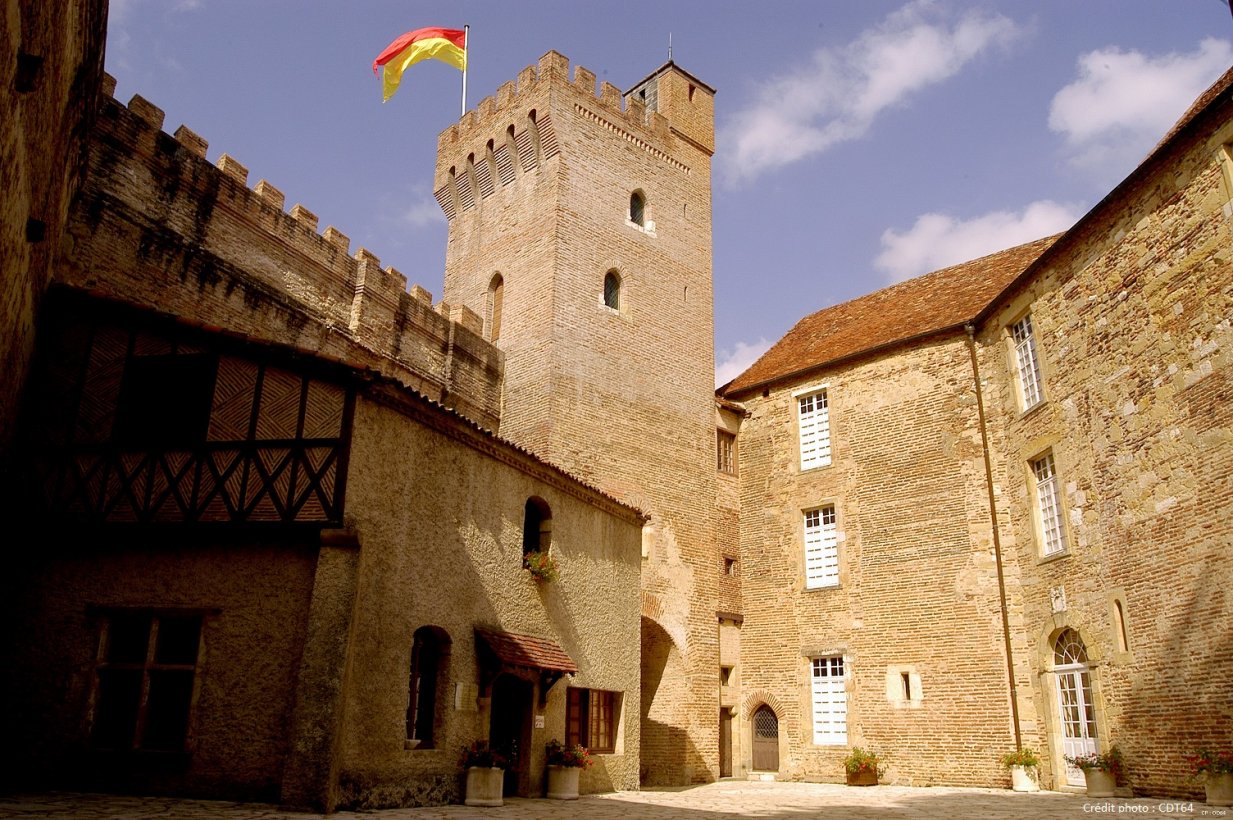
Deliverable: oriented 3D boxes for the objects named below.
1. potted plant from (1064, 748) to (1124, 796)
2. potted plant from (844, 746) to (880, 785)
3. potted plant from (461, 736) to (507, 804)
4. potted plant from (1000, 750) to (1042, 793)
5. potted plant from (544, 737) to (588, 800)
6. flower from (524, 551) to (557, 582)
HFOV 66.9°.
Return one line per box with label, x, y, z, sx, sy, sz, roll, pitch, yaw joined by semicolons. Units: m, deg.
potted plant;11.030;8.289;21.358;1.053;0.877;0.951;5;-23;-15
potted plant;6.783;9.874;25.891;0.852;0.871;0.897;-7;-13;35
potted plant;-2.453;6.832;17.528;1.194;1.230;0.959;3;-30;-6
potted plant;10.235;9.095;23.558;0.967;0.992;0.893;3;-21;8
potted plant;-1.183;7.547;19.552;1.243;1.215;0.983;7;-32;-9
flower;-1.652;3.276;19.690;0.631;0.421;0.620;17;-14;-11
